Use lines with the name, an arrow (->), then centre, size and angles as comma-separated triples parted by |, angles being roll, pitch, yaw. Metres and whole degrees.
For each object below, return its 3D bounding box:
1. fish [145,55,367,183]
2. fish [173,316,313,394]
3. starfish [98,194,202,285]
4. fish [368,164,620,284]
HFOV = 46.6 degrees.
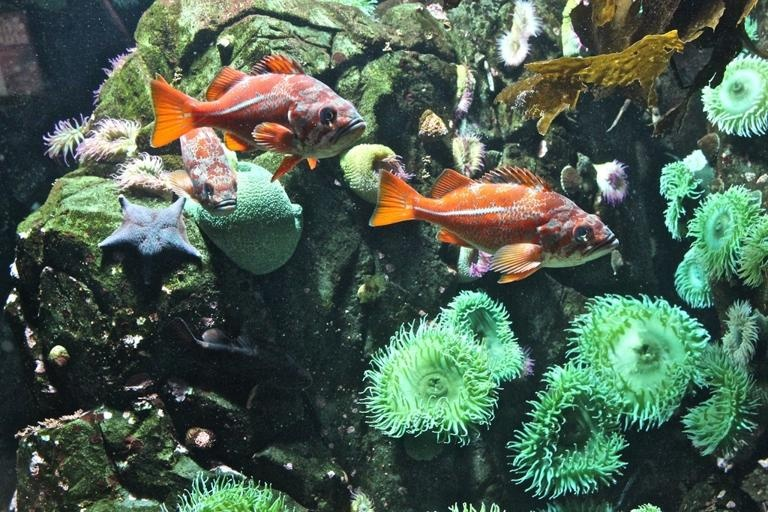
fish -> -0.988, -1.165, 7.457 | 2.331, 1.441, 0.785 | 4, 11, 5
fish -> -1.299, 0.971, 8.264 | 1.419, 0.494, 0.447 | 23, 7, -16
starfish -> -2.157, -0.205, 8.213 | 0.798, 0.717, 0.312 | -15, 23, -11
fish -> 0.998, -0.352, 7.864 | 1.958, 1.047, 0.556 | -9, 23, 3
